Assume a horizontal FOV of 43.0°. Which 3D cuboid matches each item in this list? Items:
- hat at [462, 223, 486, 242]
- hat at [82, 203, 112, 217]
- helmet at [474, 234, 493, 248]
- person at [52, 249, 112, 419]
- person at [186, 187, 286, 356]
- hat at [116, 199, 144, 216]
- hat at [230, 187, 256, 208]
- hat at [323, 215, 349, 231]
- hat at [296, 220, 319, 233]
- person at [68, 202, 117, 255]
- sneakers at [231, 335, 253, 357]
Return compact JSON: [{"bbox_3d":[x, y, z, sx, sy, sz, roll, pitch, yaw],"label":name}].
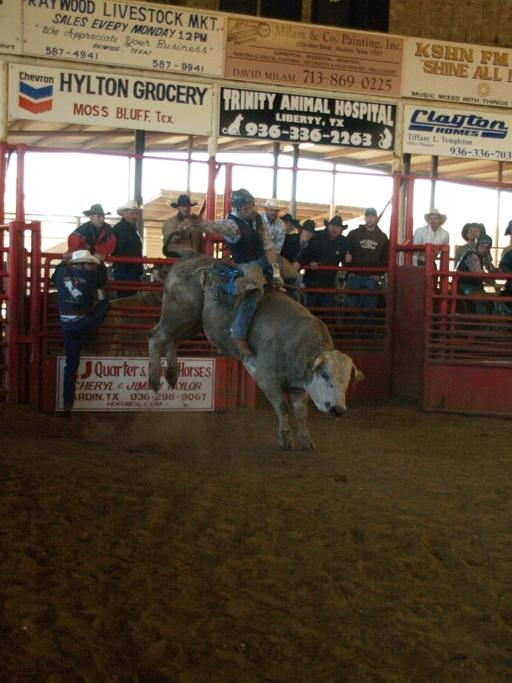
[{"bbox_3d":[3.529,-1.772,10.566,0.353,0.319,0.099,3,13,9],"label":"hat"},{"bbox_3d":[-2.359,-1.830,9.241,0.336,0.116,0.296,-2,0,26],"label":"hat"},{"bbox_3d":[3.595,-1.565,10.213,0.200,0.192,0.215,4,0,-7],"label":"helmet"},{"bbox_3d":[-2.109,-0.096,7.741,0.629,1.954,0.487,4,3,-17],"label":"person"},{"bbox_3d":[-0.155,-0.628,6.175,0.721,1.529,0.594,6,3,23],"label":"person"},{"bbox_3d":[-1.882,-2.006,9.670,0.396,0.169,0.467,6,-12,-26],"label":"hat"},{"bbox_3d":[-0.126,-1.321,6.022,0.205,0.181,0.262,4,3,-3],"label":"hat"},{"bbox_3d":[1.270,-1.921,10.416,0.405,0.155,0.438,10,-13,2],"label":"hat"},{"bbox_3d":[0.786,-1.735,9.712,0.270,0.104,0.291,2,3,6],"label":"hat"},{"bbox_3d":[-2.278,-1.568,9.075,0.586,0.721,0.787,4,3,-8],"label":"person"},{"bbox_3d":[-0.138,0.062,6.086,0.195,0.086,0.325,-14,-16,-3],"label":"sneakers"}]
